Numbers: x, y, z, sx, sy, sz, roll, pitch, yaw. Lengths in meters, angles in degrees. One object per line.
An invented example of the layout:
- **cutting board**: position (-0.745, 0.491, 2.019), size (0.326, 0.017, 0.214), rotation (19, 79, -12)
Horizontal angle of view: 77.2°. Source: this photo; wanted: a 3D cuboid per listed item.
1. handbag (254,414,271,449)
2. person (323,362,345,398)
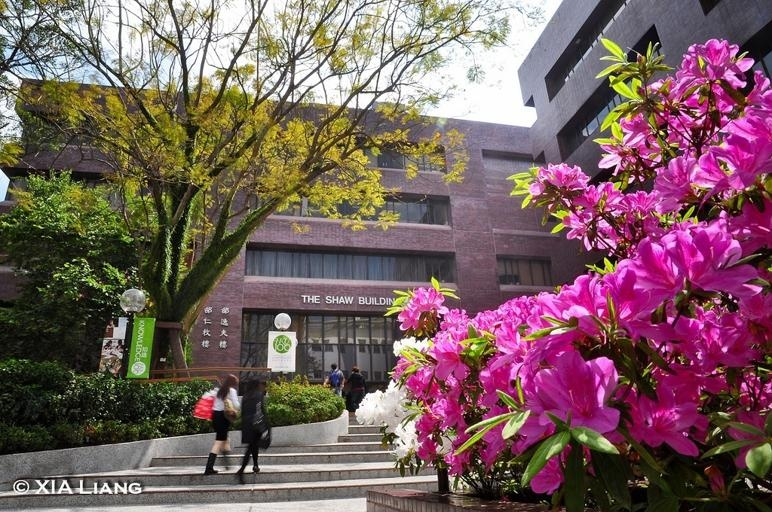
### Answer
- **handbag**: position (-1.993, 2.887, 7.876), size (0.158, 0.487, 0.386), rotation (2, -15, -6)
- **person**: position (-1.830, 4.682, 17.474), size (0.599, 1.511, 0.351), rotation (-1, 15, -10)
